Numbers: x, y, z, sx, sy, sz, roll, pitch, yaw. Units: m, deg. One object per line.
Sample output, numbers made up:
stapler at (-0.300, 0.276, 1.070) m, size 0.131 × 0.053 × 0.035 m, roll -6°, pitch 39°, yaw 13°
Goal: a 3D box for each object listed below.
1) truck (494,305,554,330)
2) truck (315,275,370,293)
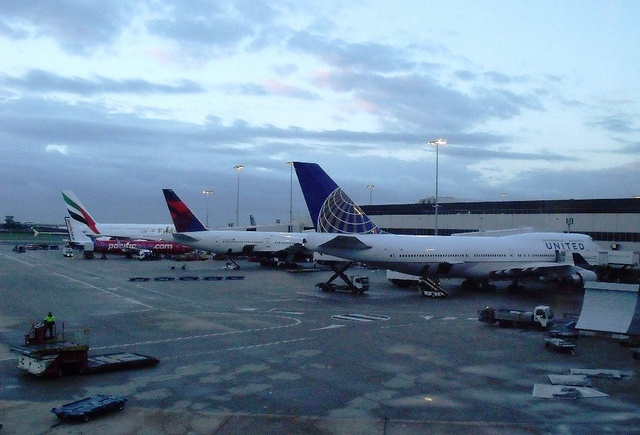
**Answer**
truck at (12.754, 6.194, 33.669) m, size 3.850 × 1.219 × 1.485 m, roll -1°, pitch 0°, yaw 20°
truck at (1.887, 5.996, 48.467) m, size 5.059 × 1.382 × 1.728 m, roll -1°, pitch 0°, yaw 26°
